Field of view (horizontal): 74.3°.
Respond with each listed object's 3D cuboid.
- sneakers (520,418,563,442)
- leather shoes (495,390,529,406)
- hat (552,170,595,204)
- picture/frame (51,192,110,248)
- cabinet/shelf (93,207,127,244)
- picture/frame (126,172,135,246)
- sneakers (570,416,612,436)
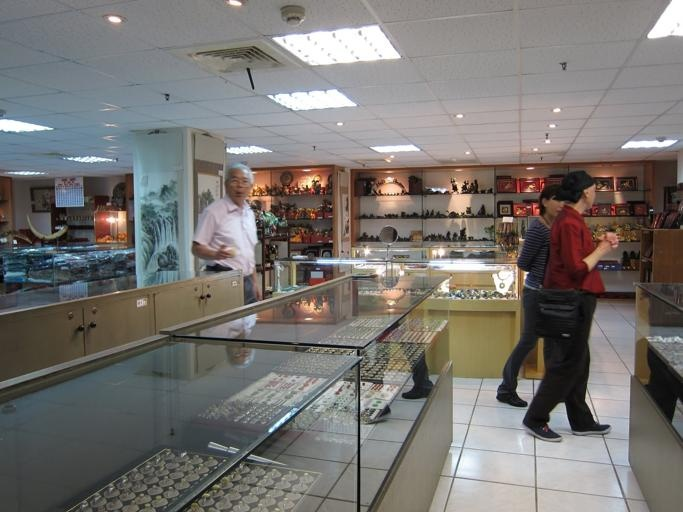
[{"bbox_3d":[1.544,1.338,3.503,0.254,0.097,0.122,2,5,41],"label":"sneakers"},{"bbox_3d":[1.536,1.277,4.102,0.295,0.116,0.100,1,3,30],"label":"leather shoes"},{"bbox_3d":[1.659,-0.526,3.308,0.277,0.200,0.199,-24,20,3],"label":"hat"},{"bbox_3d":[-7.426,-1.087,12.911,1.927,1.611,0.585,0,3,4],"label":"picture/frame"},{"bbox_3d":[-6.865,-0.967,13.352,1.219,1.029,0.415,2,7,13],"label":"cabinet/shelf"},{"bbox_3d":[-6.127,-1.415,13.002,0.158,1.962,0.428,-3,15,-29],"label":"picture/frame"},{"bbox_3d":[1.950,1.347,3.585,0.328,0.127,0.116,-2,-1,-1],"label":"sneakers"}]
